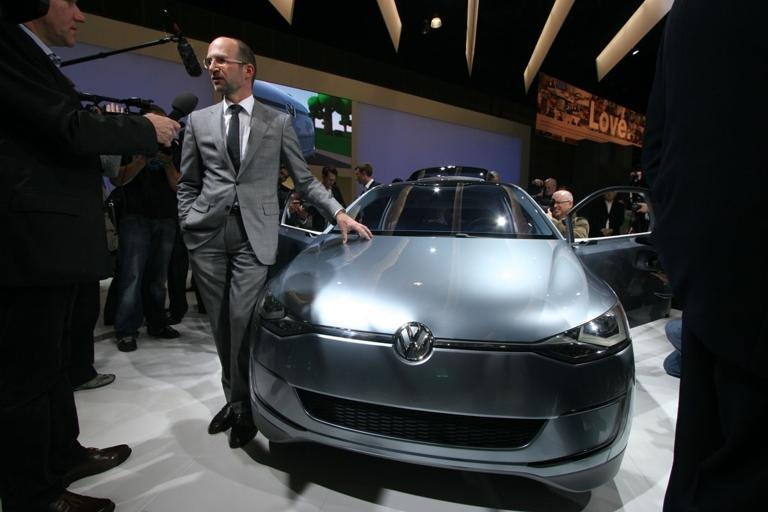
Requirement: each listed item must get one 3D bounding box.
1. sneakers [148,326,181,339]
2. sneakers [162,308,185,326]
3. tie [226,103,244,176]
[{"bbox_3d":[-1.672,0.592,3.662,0.252,0.112,0.097,0,3,-6],"label":"sneakers"},{"bbox_3d":[-1.714,0.503,3.856,0.115,0.127,0.147,9,-21,7],"label":"sneakers"},{"bbox_3d":[-0.748,-0.578,2.344,0.077,0.347,0.039,9,26,2],"label":"tie"}]
